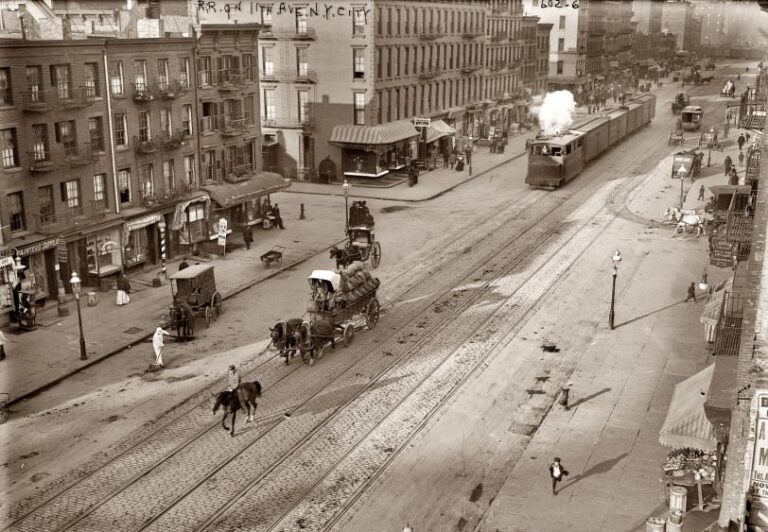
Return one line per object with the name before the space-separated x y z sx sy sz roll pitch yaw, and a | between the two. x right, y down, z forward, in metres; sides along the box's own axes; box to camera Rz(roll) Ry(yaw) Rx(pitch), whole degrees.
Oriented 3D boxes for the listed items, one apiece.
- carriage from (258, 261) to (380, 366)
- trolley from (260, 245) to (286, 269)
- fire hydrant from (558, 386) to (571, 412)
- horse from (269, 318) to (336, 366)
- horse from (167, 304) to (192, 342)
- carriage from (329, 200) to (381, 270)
carriage | -2.592 2.107 36.792 2.344 3.762 7.935 4 17 25
trolley | -6.918 -0.458 48.019 1.138 1.089 1.701 7 23 29
fire hydrant | 7.673 5.669 32.013 0.567 0.939 0.510 14 32 39
horse | -4.006 3.676 35.417 2.187 2.324 2.584 6 17 29
horse | -10.266 2.683 37.892 0.843 1.601 2.616 13 0 -7
carriage | -2.350 -1.857 47.944 2.341 4.087 5.280 2 9 18
